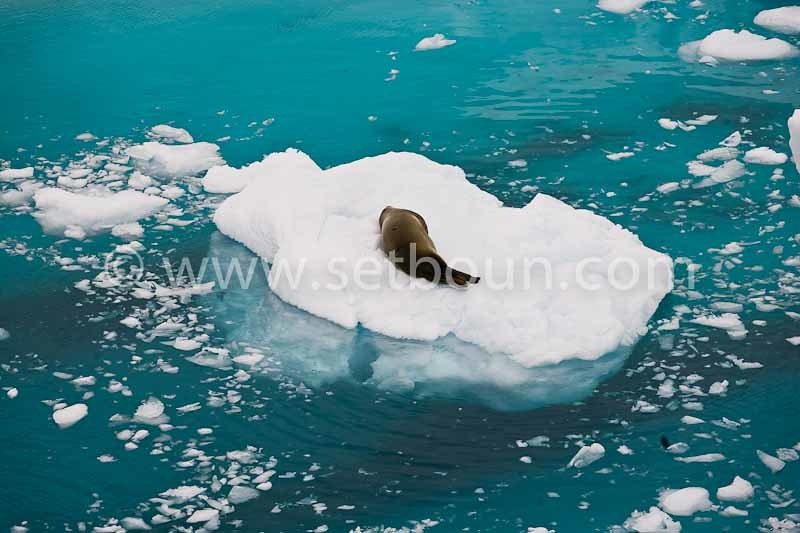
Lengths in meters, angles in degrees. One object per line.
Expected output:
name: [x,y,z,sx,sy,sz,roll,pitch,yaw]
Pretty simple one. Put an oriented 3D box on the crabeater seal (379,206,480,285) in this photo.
crabeater seal: [0.182,-0.170,9.087,0.836,0.270,0.926,-10,43,-9]
